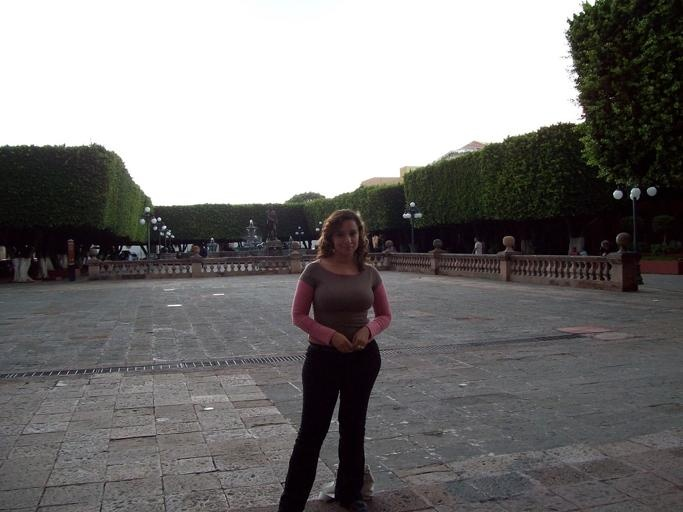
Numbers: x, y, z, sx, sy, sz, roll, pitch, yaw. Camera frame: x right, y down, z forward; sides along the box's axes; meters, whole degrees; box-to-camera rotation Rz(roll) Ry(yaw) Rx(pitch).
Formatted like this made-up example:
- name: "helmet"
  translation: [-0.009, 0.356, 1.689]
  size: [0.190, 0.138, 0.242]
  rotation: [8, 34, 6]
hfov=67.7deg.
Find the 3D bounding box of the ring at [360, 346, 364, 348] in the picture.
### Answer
- name: "ring"
  translation: [0.133, 0.596, 3.368]
  size: [0.024, 0.009, 0.019]
  rotation: [1, 0, -38]
